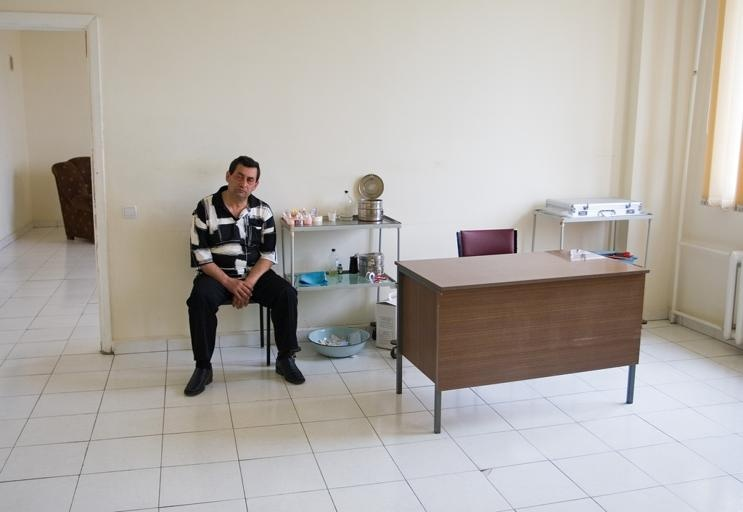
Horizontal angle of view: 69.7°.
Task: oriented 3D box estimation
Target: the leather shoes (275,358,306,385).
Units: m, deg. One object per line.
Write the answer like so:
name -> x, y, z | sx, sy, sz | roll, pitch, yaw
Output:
leather shoes -> -0.612, 0.858, 4.007 | 0.113, 0.134, 0.304 | -8, 14, -38

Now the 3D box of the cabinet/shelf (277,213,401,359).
cabinet/shelf -> -0.295, 0.236, 4.460 | 1.129, 1.282, 0.668 | -3, 10, -14

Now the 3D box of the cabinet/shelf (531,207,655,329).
cabinet/shelf -> 1.682, 0.063, 4.088 | 1.043, 1.040, 0.647 | -4, 9, -19

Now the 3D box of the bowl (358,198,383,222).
bowl -> -0.007, -0.385, 4.398 | 0.194, 0.139, 0.180 | 2, 12, 0

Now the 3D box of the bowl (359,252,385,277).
bowl -> 0.008, 0.068, 4.521 | 0.199, 0.189, 0.185 | 2, 10, 0

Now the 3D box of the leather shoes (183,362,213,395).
leather shoes -> -1.237, 0.902, 3.817 | 0.101, 0.117, 0.283 | 3, 6, 15

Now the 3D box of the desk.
desk -> 1.034, 0.552, 3.855 | 1.569, 0.914, 0.815 | -3, 11, -16

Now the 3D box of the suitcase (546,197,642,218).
suitcase -> 1.999, -0.433, 4.744 | 0.785, 0.139, 0.272 | -1, 11, 1

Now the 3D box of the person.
person -> -1.007, 0.105, 3.975 | 0.862, 1.662, 0.625 | -5, 13, -14

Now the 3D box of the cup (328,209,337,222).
cup -> -0.327, -0.334, 4.468 | 0.090, 0.100, 0.087 | 1, 10, 0
